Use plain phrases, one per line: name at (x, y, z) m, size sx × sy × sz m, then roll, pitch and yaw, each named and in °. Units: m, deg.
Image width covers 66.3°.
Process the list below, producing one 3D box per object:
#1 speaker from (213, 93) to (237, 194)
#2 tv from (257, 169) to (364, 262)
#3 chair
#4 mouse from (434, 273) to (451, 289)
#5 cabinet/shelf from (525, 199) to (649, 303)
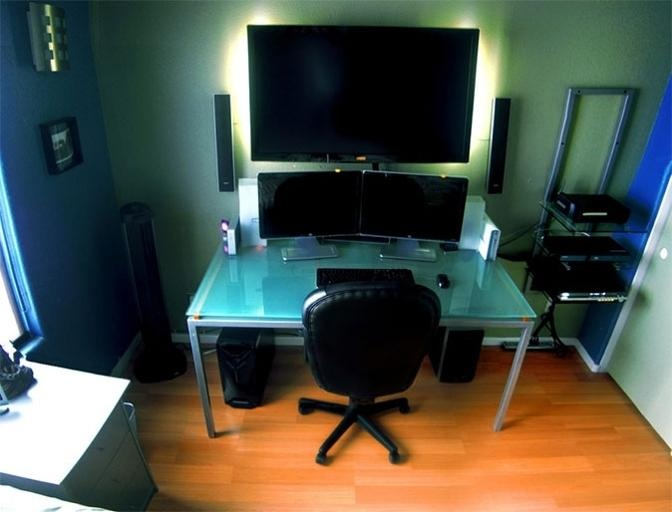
speaker at (-0.692, -0.689, 3.174) m, size 0.100 × 0.594 × 0.040 m, roll 1°, pitch 25°, yaw -4°
tv at (-0.161, -0.263, 3.149) m, size 0.564 × 0.466 × 0.179 m, roll -2°, pitch 25°, yaw -3°
chair at (0.149, 0.614, 2.798) m, size 0.659 × 1.237 × 0.427 m, roll 2°, pitch 25°, yaw -3°
mouse at (0.598, 0.141, 3.011) m, size 0.099 × 0.074 × 0.133 m, roll 3°, pitch 12°, yaw 4°
cabinet/shelf at (1.616, 0.016, 3.330) m, size 0.511 × 0.599 × 0.459 m, roll 2°, pitch 1°, yaw 20°
